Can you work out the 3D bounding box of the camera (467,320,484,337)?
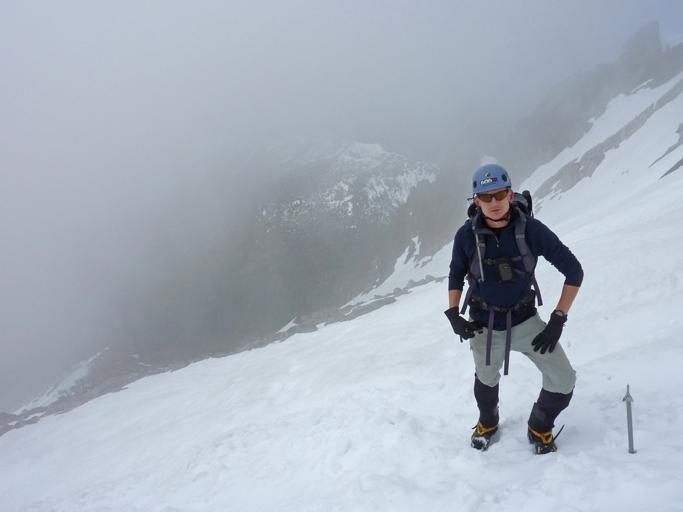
[{"bbox_3d":[3.671,1.955,14.544,0.393,0.424,0.109,-20,10,-19],"label":"camera"}]
